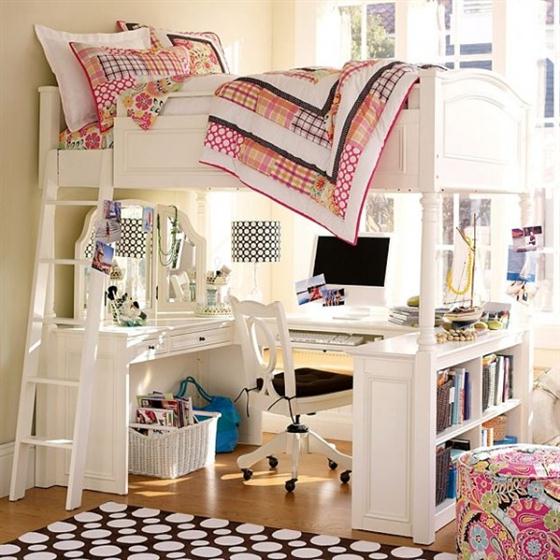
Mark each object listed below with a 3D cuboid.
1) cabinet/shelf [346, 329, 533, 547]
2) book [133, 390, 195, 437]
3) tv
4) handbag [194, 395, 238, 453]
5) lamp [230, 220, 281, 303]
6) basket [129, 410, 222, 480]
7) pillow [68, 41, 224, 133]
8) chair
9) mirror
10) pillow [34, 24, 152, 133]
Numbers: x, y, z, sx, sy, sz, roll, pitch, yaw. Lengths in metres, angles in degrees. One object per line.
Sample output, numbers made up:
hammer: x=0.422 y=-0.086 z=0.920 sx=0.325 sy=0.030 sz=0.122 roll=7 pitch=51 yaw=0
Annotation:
cabinet/shelf: x=0.634 y=0.648 z=2.505 sx=0.251 sy=0.534 sz=0.871 roll=-1 pitch=2 yaw=28
book: x=-0.650 y=0.735 z=3.483 sx=0.211 sy=0.307 sz=0.231 roll=1 pitch=1 yaw=42
tv: x=0.461 y=-0.052 z=3.885 sx=0.509 sy=0.469 sz=0.197 roll=3 pitch=0 yaw=26
handbag: x=-0.349 y=0.937 z=3.985 sx=0.221 sy=0.325 sz=0.311 roll=-3 pitch=5 yaw=-38
lamp: x=-0.155 y=-0.093 z=4.194 sx=0.358 sy=0.580 sz=0.347 roll=1 pitch=-2 yaw=-34
basket: x=-0.599 y=0.931 z=3.502 sx=0.278 sy=0.218 sz=0.407 roll=-2 pitch=-2 yaw=26
pillow: x=-0.700 y=-0.946 z=3.037 sx=0.279 sy=0.262 sz=0.611 roll=36 pitch=30 yaw=23
chair: x=0.096 y=0.577 z=3.312 sx=0.584 sy=0.932 sz=0.592 roll=-2 pitch=0 yaw=-44
mirror: x=-0.859 y=-0.118 z=3.839 sx=0.843 sy=0.721 sz=0.131 roll=-2 pitch=6 yaw=-36
pillow: x=-0.971 y=-1.004 z=3.113 sx=0.081 sy=0.426 sz=0.565 roll=3 pitch=28 yaw=46
